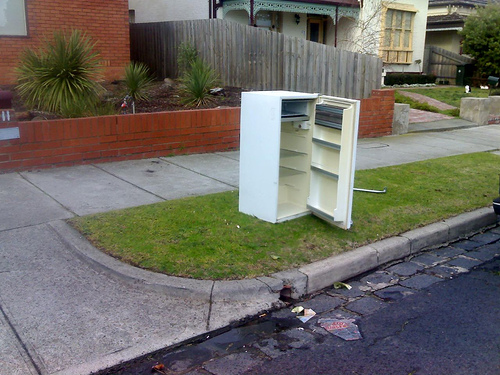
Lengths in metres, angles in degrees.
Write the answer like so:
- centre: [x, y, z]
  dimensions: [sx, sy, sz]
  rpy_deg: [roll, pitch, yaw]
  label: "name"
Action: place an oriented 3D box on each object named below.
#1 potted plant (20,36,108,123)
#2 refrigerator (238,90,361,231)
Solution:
- centre: [-4.261, -2.506, 8.560]
  dimensions: [1.785, 1.758, 1.663]
  rpy_deg: [-6, 17, -25]
  label: "potted plant"
- centre: [0.708, -0.430, 5.415]
  dimensions: [1.696, 1.612, 1.027]
  rpy_deg: [9, 14, 28]
  label: "refrigerator"
